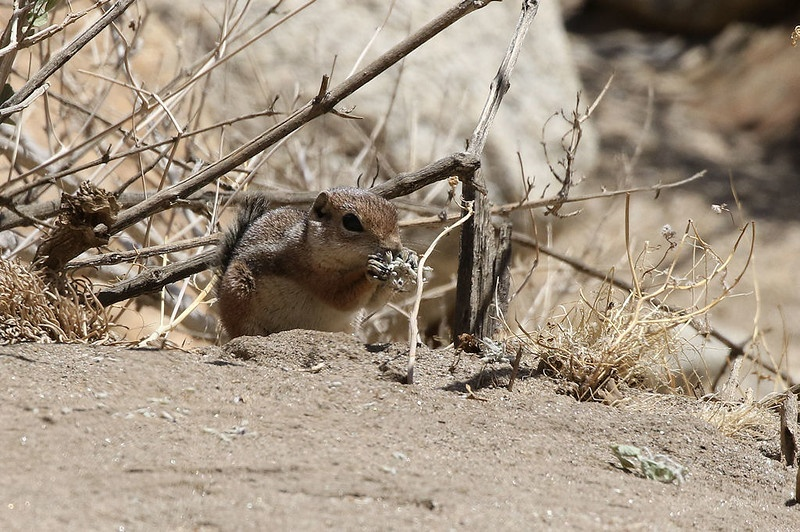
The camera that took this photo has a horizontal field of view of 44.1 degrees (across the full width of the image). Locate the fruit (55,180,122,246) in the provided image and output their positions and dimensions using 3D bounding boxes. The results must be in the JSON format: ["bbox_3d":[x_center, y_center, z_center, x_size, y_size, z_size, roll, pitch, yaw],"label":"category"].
[{"bbox_3d":[-2.123,-0.373,6.797,0.447,0.420,0.342,9,2,16],"label":"fruit"}]
